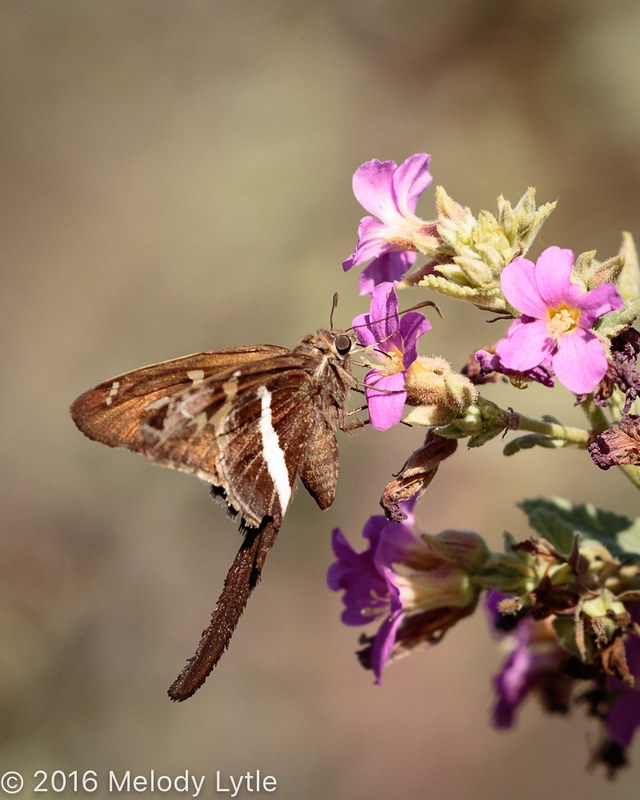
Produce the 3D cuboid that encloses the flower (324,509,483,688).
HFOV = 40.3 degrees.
[{"bbox_3d":[0.292,0.651,2.975,0.415,0.543,0.581,7,0,-22],"label":"flower"}]

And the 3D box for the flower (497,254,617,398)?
[{"bbox_3d":[0.586,-0.223,2.251,0.332,0.364,0.146,31,-4,-42],"label":"flower"}]

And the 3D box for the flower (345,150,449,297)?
[{"bbox_3d":[0.266,-0.575,2.814,0.329,0.461,0.349,7,0,17],"label":"flower"}]
